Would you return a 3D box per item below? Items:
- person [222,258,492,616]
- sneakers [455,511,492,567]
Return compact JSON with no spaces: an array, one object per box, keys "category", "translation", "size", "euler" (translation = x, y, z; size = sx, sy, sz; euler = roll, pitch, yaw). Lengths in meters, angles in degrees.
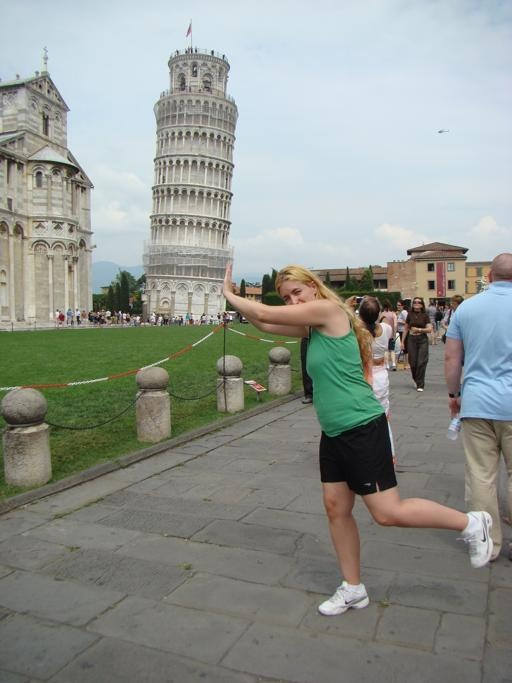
[{"category":"person","translation":[0.517,0.522,2.973],"size":[1.267,1.797,0.413],"euler":[-1,4,-4]},{"category":"sneakers","translation":[1.186,1.028,3.153],"size":[0.191,0.345,0.134],"euler":[-3,-6,-12]}]
